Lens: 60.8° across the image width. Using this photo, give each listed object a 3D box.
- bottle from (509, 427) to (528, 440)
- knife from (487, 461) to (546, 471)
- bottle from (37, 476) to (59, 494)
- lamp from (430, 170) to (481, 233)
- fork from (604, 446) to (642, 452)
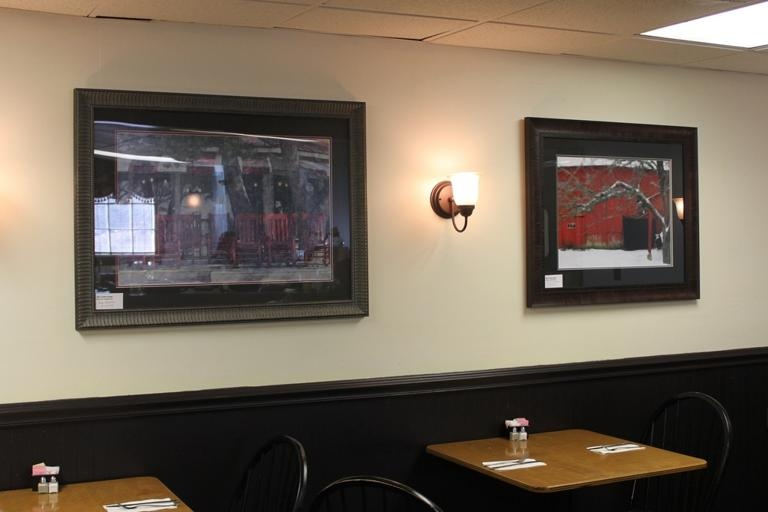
[{"bbox_3d":[0.806,1.075,3.950,0.087,0.079,0.045,2,-11,-11],"label":"bottle"},{"bbox_3d":[0.710,1.130,3.538,0.330,0.020,0.112,-3,3,-13],"label":"knife"},{"bbox_3d":[-1.644,1.120,3.183,0.090,0.079,0.047,0,-1,-1],"label":"bottle"},{"bbox_3d":[0.418,-0.313,3.841,0.342,0.405,0.337,-1,0,-25],"label":"lamp"},{"bbox_3d":[1.386,1.121,3.793,0.119,0.016,0.062,-1,-1,-15],"label":"fork"}]
